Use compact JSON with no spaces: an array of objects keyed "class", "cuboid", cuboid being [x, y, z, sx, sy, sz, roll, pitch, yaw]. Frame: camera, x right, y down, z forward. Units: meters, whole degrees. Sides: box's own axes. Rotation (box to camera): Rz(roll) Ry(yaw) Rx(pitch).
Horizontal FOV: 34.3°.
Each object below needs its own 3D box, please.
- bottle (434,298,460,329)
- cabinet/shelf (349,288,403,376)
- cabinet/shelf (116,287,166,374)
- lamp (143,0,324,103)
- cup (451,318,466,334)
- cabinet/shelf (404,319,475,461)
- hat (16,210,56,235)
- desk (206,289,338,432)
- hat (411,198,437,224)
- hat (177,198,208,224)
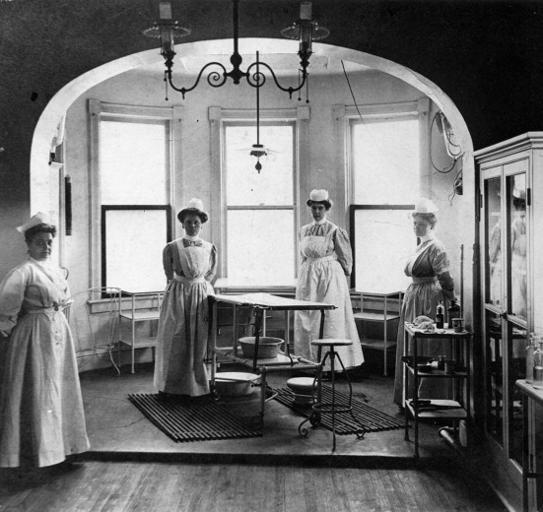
[{"class":"bottle","cuboid":[1.093,0.365,5.512,0.169,0.230,0.087,1,1,40]},{"class":"cabinet/shelf","cuboid":[0.855,0.614,7.181,0.255,0.635,0.666,-3,4,-33]},{"class":"cabinet/shelf","cuboid":[-1.075,0.597,7.252,0.252,0.667,0.723,1,1,-5]},{"class":"lamp","cuboid":[-0.248,-1.342,5.727,0.745,0.596,0.220,0,-3,-4]},{"class":"cup","cuboid":[1.098,0.409,5.217,0.069,0.079,0.070,1,-12,0]},{"class":"cabinet/shelf","cuboid":[1.009,0.786,5.434,0.403,0.800,0.789,2,12,9]},{"class":"hat","cuboid":[-1.327,-0.181,4.972,0.224,0.134,0.118,3,12,12]},{"class":"desk","cuboid":[-0.115,0.592,6.057,0.575,0.797,1.067,0,4,-22]},{"class":"hat","cuboid":[1.023,-0.302,5.901,0.161,0.167,0.124,-5,12,-21]},{"class":"hat","cuboid":[-0.551,-0.358,6.364,0.200,0.104,0.246,4,-28,-2]}]
